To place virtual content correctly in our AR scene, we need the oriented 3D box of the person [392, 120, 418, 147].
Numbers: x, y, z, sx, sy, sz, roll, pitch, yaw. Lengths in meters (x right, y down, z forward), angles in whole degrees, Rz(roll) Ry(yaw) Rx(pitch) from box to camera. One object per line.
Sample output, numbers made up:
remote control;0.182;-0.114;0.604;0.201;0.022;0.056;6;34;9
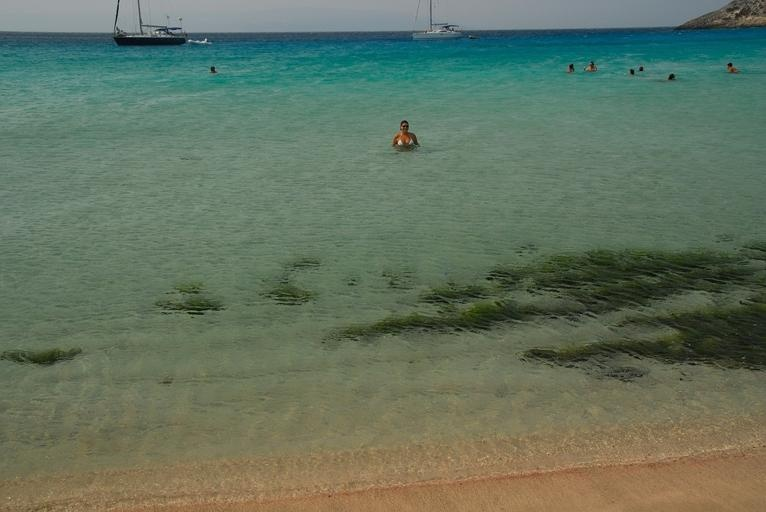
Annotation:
person;0.786;-4.543;27.907;0.790;0.962;0.859;-10;25;-24
